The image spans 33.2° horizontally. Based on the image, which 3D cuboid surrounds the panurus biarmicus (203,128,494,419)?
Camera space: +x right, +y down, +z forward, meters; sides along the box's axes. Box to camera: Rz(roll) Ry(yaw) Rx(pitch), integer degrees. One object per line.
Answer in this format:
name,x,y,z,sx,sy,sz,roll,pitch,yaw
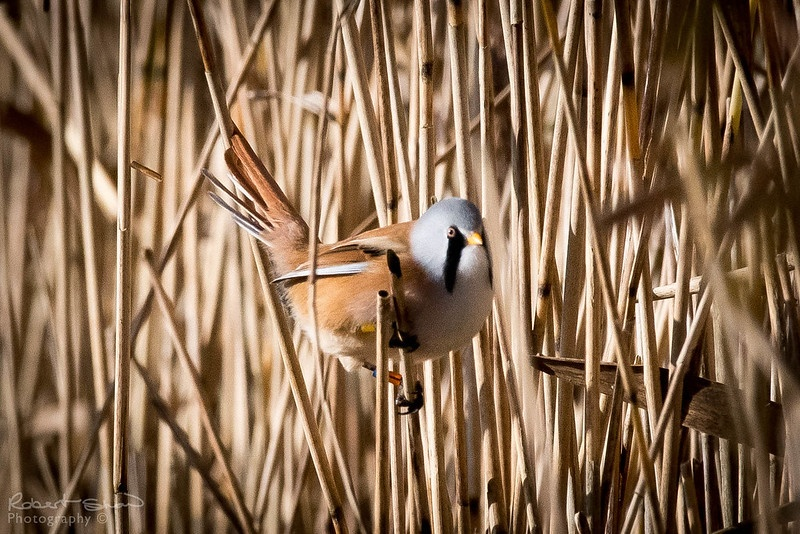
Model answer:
panurus biarmicus,-0.195,0.050,4.517,0.948,0.968,0.551,8,-10,23
